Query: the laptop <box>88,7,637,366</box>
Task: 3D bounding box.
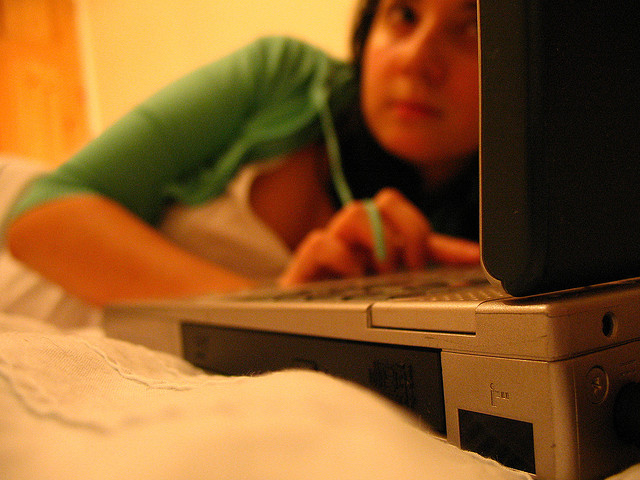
[{"bbox_3d":[0.114,-0.008,0.482,0.223,0.240,0.333,3,4,38],"label":"laptop"}]
